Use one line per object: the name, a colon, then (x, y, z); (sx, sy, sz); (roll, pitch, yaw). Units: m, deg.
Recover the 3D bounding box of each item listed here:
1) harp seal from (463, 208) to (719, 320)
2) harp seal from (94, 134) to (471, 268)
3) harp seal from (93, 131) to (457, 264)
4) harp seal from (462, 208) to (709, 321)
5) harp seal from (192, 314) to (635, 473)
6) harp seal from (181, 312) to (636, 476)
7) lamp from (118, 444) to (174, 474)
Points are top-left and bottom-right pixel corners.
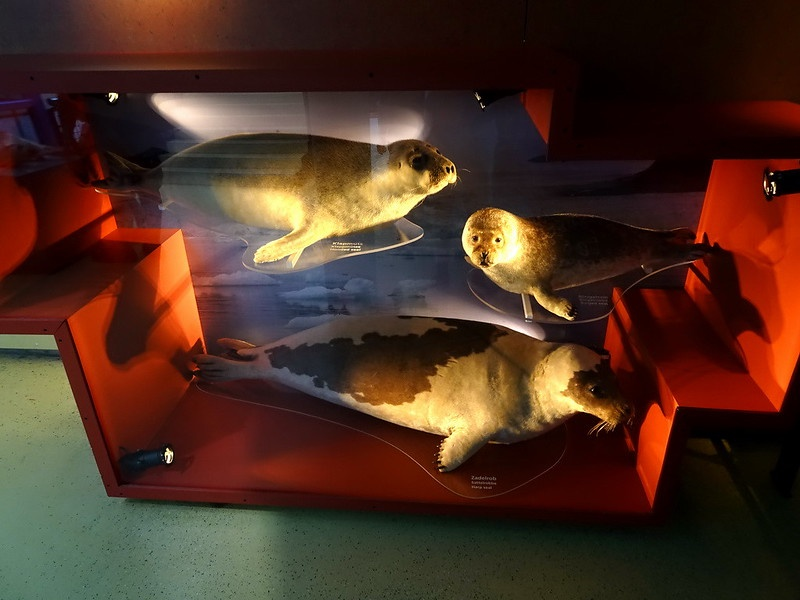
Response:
harp seal: (0.413, -0.137, 1.464); (0.609, 0.188, 0.391); (-11, 29, -18)
harp seal: (-0.251, -0.250, 1.413); (0.582, 0.160, 0.329); (3, 30, 6)
harp seal: (-0.268, -0.255, 1.270); (0.572, 0.157, 0.327); (3, 31, 5)
harp seal: (0.420, -0.124, 1.439); (0.578, 0.178, 0.358); (-9, 29, -12)
harp seal: (0.009, 0.191, 1.723); (1.163, 0.298, 0.490); (9, 31, 12)
harp seal: (0.025, 0.178, 1.595); (0.967, 0.226, 0.387); (8, 32, 7)
lamp: (-0.690, 0.429, 1.666); (0.167, 0.053, 0.053); (-9, 7, 5)
